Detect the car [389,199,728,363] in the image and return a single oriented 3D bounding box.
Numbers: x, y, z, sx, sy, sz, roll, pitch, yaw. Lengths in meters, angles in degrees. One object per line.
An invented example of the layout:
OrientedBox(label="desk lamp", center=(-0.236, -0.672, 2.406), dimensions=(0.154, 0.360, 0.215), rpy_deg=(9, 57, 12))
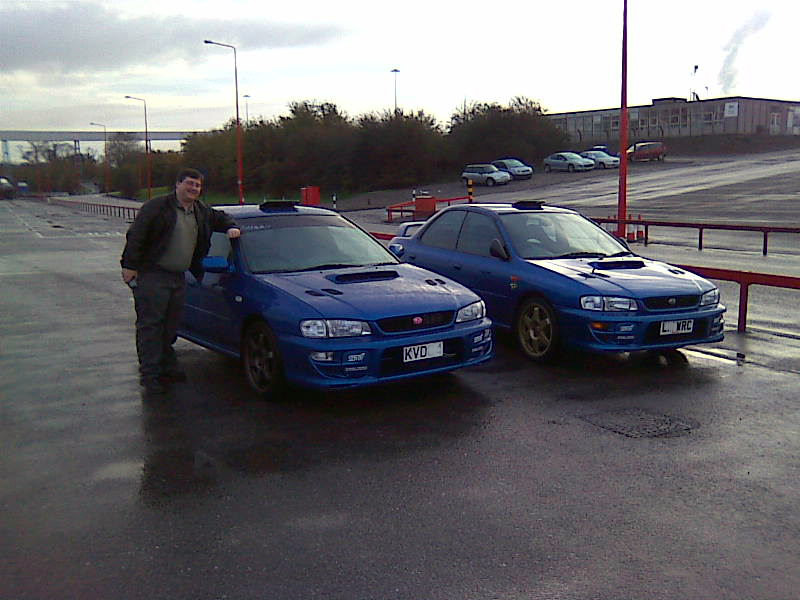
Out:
OrientedBox(label="car", center=(1.650, -0.506, 8.059), dimensions=(2.004, 1.709, 4.576), rpy_deg=(-5, 13, -32))

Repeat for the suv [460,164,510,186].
OrientedBox(label="suv", center=(6.568, -9.675, 46.077), dimensions=(3.055, 1.621, 4.157), rpy_deg=(-2, 12, 0))

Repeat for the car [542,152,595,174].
OrientedBox(label="car", center=(14.394, -11.731, 51.459), dimensions=(1.881, 1.547, 4.102), rpy_deg=(-10, 12, -37))

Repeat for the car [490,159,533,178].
OrientedBox(label="car", center=(8.956, -10.650, 47.942), dimensions=(1.624, 1.508, 2.953), rpy_deg=(-12, 19, -32))

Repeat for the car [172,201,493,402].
OrientedBox(label="car", center=(-1.106, -0.188, 6.346), dimensions=(1.730, 1.244, 3.315), rpy_deg=(-6, 11, -38))

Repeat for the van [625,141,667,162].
OrientedBox(label="van", center=(22.974, -13.887, 55.768), dimensions=(3.333, 1.730, 1.343), rpy_deg=(-5, 11, -12))
